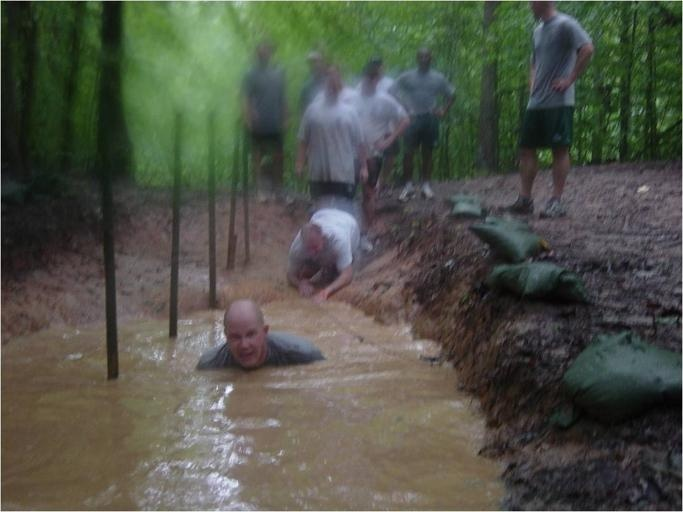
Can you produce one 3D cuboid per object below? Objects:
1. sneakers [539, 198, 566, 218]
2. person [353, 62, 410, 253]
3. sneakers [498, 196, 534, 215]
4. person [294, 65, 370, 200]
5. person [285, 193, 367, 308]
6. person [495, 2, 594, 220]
[{"bbox_3d":[1.143,-0.257,5.283,0.086,0.122,0.120,-3,0,33],"label":"sneakers"},{"bbox_3d":[0.182,-0.567,5.549,0.322,1.045,0.303,0,19,-5],"label":"person"},{"bbox_3d":[0.972,-0.288,5.409,0.189,0.141,0.074,7,12,23],"label":"sneakers"},{"bbox_3d":[-0.057,-0.530,5.639,0.375,1.109,0.260,1,36,0],"label":"person"},{"bbox_3d":[-0.097,-0.055,5.608,0.247,0.329,0.750,7,42,8],"label":"person"},{"bbox_3d":[1.135,-0.792,5.275,0.380,1.138,0.194,4,10,16],"label":"person"}]
